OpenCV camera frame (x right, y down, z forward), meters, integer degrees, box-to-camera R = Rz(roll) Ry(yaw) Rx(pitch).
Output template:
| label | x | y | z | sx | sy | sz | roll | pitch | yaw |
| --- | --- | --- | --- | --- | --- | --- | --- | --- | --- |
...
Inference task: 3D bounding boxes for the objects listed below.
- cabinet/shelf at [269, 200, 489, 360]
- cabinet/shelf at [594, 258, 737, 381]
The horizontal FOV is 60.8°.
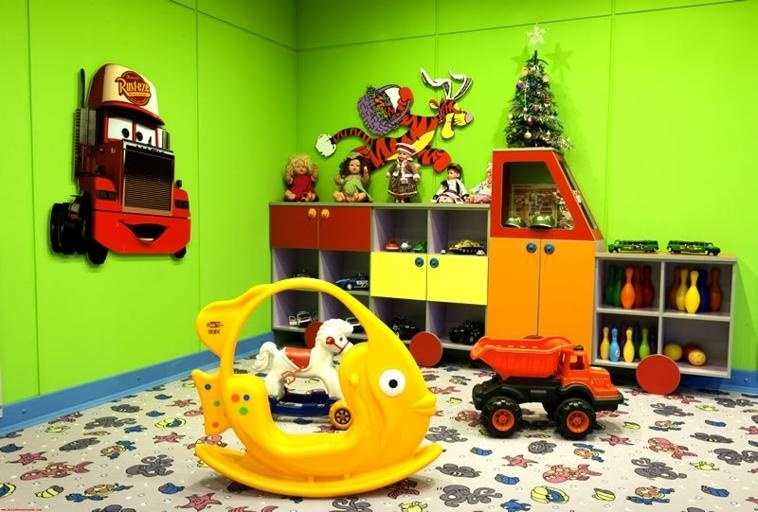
| label | x | y | z | sx | sy | sz | roll | pitch | yaw |
| --- | --- | --- | --- | --- | --- | --- | --- | --- | --- |
| cabinet/shelf | 0.005 | 0.210 | 6.446 | 2.223 | 1.447 | 0.550 | 3 | 8 | 19 |
| cabinet/shelf | 2.450 | 0.550 | 5.528 | 1.054 | 0.994 | 0.346 | 1 | 1 | 18 |
